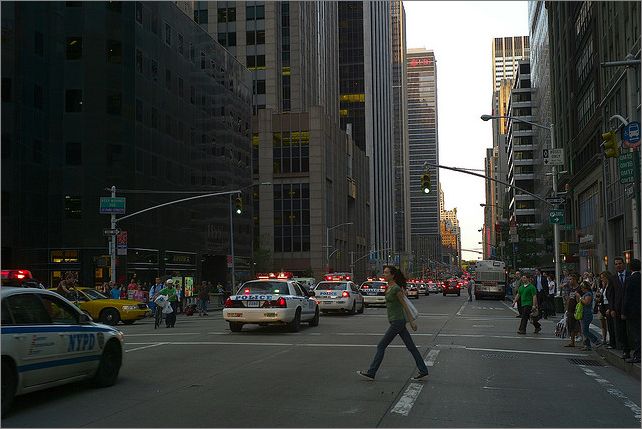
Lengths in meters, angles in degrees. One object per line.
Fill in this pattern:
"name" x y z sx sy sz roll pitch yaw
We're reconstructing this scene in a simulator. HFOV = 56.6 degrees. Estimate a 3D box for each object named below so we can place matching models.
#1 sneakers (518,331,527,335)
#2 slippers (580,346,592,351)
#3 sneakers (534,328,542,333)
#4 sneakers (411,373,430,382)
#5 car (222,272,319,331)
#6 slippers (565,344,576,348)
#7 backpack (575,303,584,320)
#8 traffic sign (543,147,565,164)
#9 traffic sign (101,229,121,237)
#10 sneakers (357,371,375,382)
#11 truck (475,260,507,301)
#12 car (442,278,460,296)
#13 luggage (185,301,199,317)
"sneakers" 7.684 4.527 22.768 0.116 0.161 0.364 -11 -24 37
"slippers" 8.408 4.228 18.879 0.366 0.163 0.122 0 -2 26
"sneakers" 8.496 4.533 23.339 0.170 0.250 0.554 -16 -15 20
"sneakers" 2.256 3.701 13.587 0.447 0.212 0.171 -4 -6 10
"car" -1.714 3.514 23.385 1.977 2.110 3.844 -9 -11 36
"slippers" 8.163 4.287 19.499 0.325 0.098 0.124 2 -9 4
"backpack" 8.106 3.029 18.685 0.192 0.543 0.369 2 -9 -26
"traffic sign" 13.224 -3.289 33.822 1.018 1.120 1.128 -5 -9 20
"traffic sign" -12.902 1.096 36.768 0.858 0.530 0.214 -4 2 22
"sneakers" 0.995 3.657 13.508 0.408 0.181 0.161 10 8 28
"truck" 16.515 6.251 58.044 2.361 2.760 4.392 -1 -11 11
"car" 18.004 10.037 82.476 1.823 1.605 4.308 -1 -8 7
"luggage" -7.675 5.628 35.881 0.788 0.605 1.197 -7 -9 24
